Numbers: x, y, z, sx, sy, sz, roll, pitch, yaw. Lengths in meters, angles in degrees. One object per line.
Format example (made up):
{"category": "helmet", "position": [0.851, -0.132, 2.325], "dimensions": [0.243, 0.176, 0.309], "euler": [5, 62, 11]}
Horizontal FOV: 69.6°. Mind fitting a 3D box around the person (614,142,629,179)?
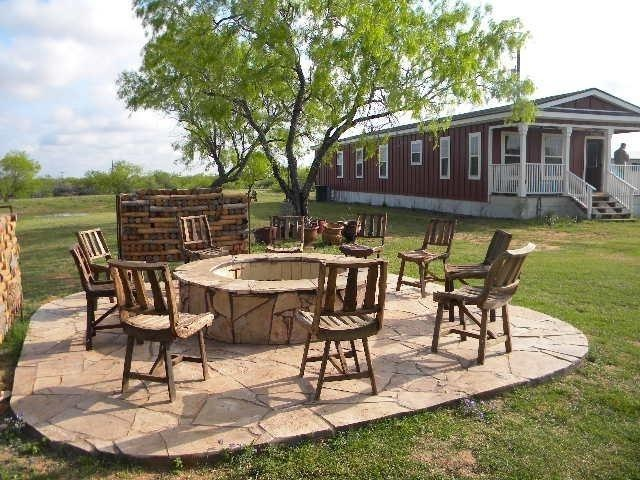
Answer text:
{"category": "person", "position": [12.320, -3.224, 18.824], "dimensions": [0.520, 1.332, 3.308], "euler": [8, 15, 31]}
